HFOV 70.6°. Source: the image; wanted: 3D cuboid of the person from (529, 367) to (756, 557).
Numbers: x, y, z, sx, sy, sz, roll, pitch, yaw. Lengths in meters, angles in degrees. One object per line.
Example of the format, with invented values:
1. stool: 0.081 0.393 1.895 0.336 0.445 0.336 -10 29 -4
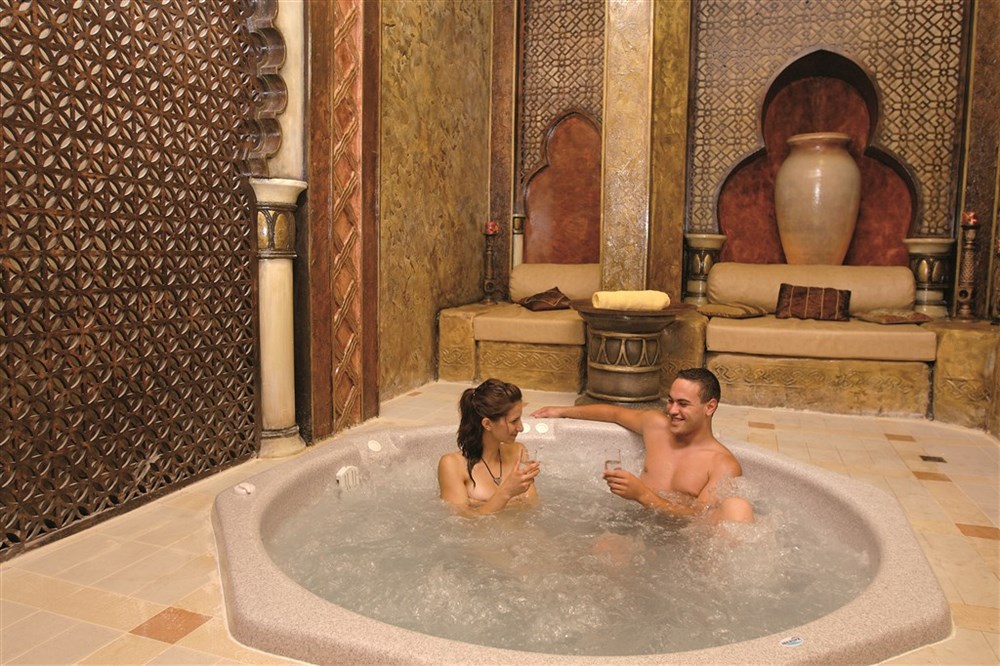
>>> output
1. person: 0.917 0.715 3.800 1.327 0.576 0.664 20 42 35

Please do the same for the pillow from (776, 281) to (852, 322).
1. pillow: 2.659 -0.252 5.987 0.526 0.325 0.165 4 -10 21

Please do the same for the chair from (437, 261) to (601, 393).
1. chair: 0.263 -0.070 6.660 1.269 1.136 1.288 1 0 23

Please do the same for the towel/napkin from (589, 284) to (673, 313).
1. towel/napkin: 0.990 -0.248 5.306 0.578 0.142 0.334 2 6 11

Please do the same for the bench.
1. bench: 2.625 0.013 5.976 1.802 1.181 0.996 2 10 11
